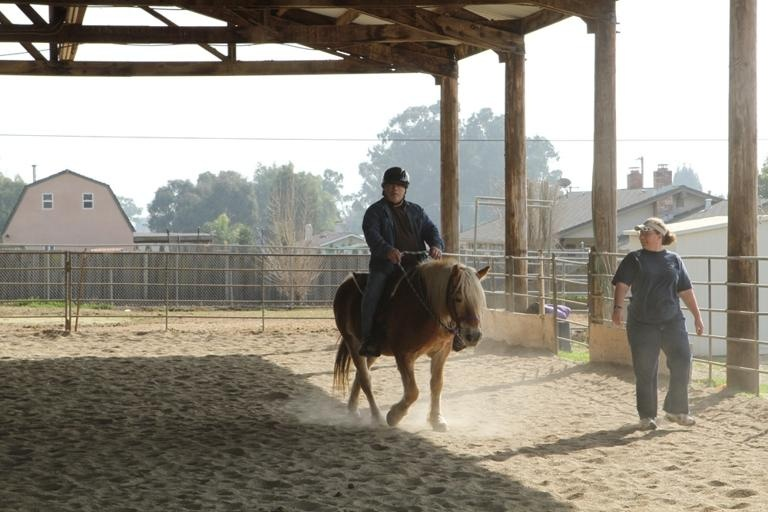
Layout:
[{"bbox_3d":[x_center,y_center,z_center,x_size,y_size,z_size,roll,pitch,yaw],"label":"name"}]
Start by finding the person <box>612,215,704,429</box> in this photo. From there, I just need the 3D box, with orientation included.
[{"bbox_3d":[4.138,0.998,16.755,1.307,3.038,0.879,3,14,11],"label":"person"}]

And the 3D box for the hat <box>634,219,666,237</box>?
[{"bbox_3d":[4.118,-0.473,16.827,0.394,0.205,0.260,23,-3,-3],"label":"hat"}]

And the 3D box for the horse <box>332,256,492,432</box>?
[{"bbox_3d":[0.285,1.354,17.440,1.164,2.712,4.145,6,-4,-31],"label":"horse"}]

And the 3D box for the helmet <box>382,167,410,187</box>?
[{"bbox_3d":[0.183,-1.236,17.081,0.275,0.339,0.369,-2,0,10],"label":"helmet"}]

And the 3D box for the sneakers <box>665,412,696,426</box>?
[{"bbox_3d":[4.552,2.452,16.900,0.448,0.209,0.172,2,6,17],"label":"sneakers"}]
